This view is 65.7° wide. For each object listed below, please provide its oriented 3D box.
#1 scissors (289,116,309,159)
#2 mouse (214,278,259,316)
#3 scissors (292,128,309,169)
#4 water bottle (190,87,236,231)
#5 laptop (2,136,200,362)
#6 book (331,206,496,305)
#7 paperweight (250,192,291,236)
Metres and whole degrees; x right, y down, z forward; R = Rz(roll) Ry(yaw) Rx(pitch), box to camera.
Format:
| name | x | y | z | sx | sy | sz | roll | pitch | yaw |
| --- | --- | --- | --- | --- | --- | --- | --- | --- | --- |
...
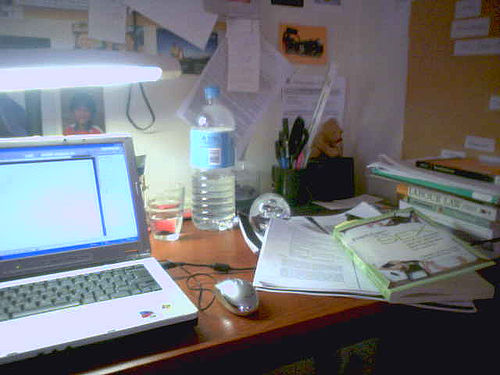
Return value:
| name | x | y | z | sx | sy | sz | roll | pitch | yaw |
| --- | --- | --- | --- | --- | --- | --- | --- | --- | --- |
| scissors | 0.148 | -0.152 | 1.175 | 0.058 | 0.122 | 0.026 | 8 | 9 | -9 |
| mouse | -0.027 | 0.205 | 0.728 | 0.086 | 0.053 | 0.060 | -2 | 14 | 3 |
| scissors | 0.155 | -0.119 | 1.181 | 0.050 | 0.116 | 0.040 | -1 | 14 | 7 |
| water bottle | -0.093 | -0.084 | 1.157 | 0.160 | 0.391 | 0.158 | 1 | 7 | 0 |
| laptop | -0.312 | 0.077 | 0.730 | 0.318 | 0.324 | 0.357 | -9 | 15 | -24 |
| book | 0.356 | 0.142 | 0.853 | 0.260 | 0.105 | 0.280 | -5 | 13 | -8 |
| paperweight | 0.042 | 0.064 | 1.091 | 0.099 | 0.107 | 0.095 | -6 | 19 | -31 |
